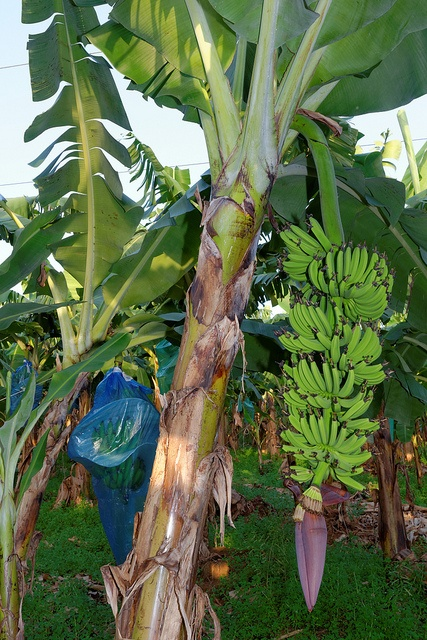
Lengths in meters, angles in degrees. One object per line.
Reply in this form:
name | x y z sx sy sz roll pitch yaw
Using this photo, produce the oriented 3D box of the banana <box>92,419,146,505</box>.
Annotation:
banana | -0.442 0.672 2.404 0.233 0.382 0.101 -5 4 -4
